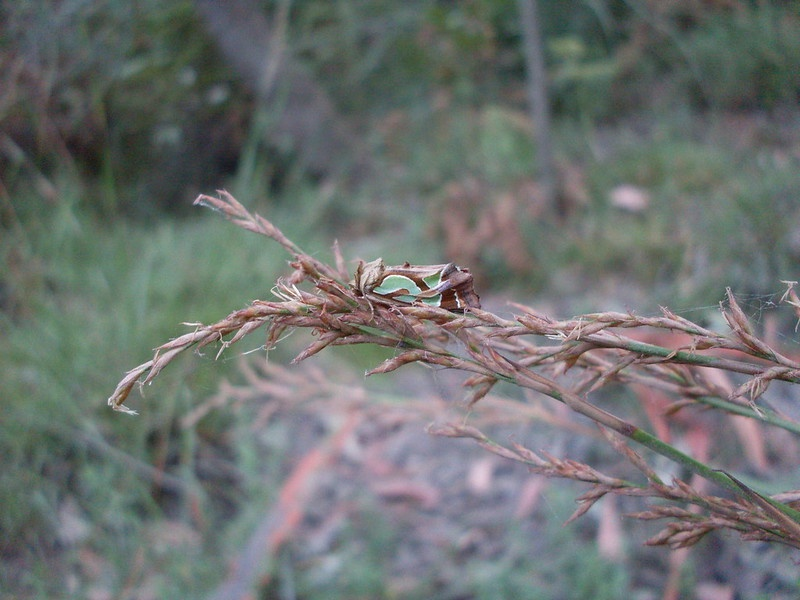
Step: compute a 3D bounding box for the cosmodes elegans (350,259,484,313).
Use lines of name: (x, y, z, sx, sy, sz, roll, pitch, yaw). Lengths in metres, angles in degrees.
cosmodes elegans: (0.020, -0.038, 1.237, 0.132, 0.058, 0.090, -9, 7, -2)
